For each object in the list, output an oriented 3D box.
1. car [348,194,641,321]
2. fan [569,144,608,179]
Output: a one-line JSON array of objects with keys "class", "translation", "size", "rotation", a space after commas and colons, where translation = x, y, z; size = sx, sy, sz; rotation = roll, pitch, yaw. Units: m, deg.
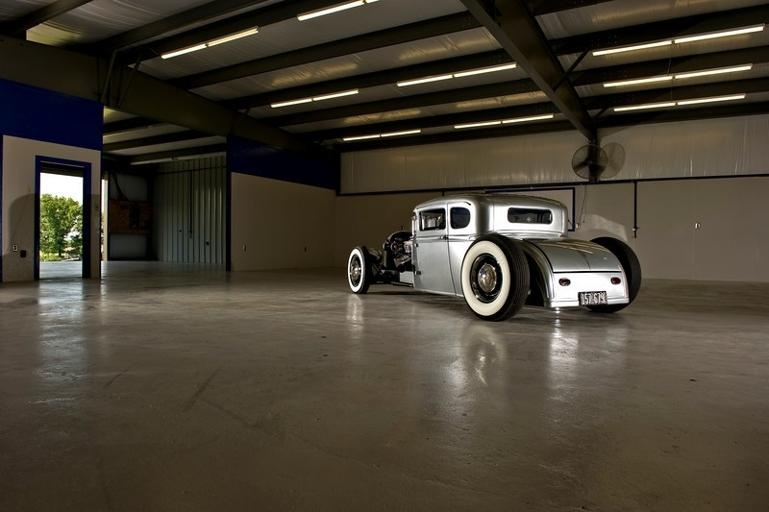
[{"class": "car", "translation": [1.368, 0.021, 7.875], "size": [2.193, 1.581, 4.525], "rotation": [1, -1, -28]}, {"class": "fan", "translation": [6.338, -2.995, 13.980], "size": [0.917, 1.303, 3.146], "rotation": [3, 6, 23]}]
